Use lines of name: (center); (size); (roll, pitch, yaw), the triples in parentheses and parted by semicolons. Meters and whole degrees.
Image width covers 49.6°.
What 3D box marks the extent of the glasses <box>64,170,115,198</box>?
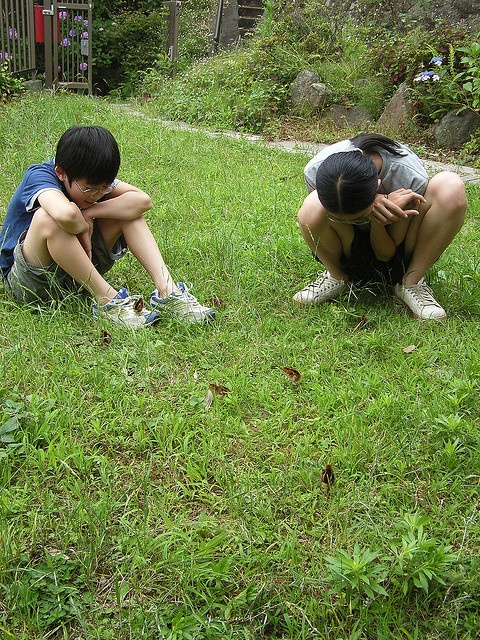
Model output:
glasses: (-0.577, -0.515, 2.010); (0.178, 0.092, 0.093); (-6, 26, -22)

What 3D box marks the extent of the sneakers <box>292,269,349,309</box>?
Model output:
sneakers: (0.361, -0.143, 2.353); (0.301, 0.114, 0.099); (-18, 46, -24)

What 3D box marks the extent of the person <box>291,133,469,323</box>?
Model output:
person: (0.589, -0.387, 2.195); (0.712, 0.694, 0.859); (6, 21, 26)

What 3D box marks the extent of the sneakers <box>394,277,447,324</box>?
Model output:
sneakers: (0.735, -0.092, 2.163); (0.088, 0.105, 0.265); (-27, 27, -2)

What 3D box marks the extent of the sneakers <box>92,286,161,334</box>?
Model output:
sneakers: (-0.444, -0.037, 2.050); (0.277, 0.127, 0.132); (13, 27, -1)
